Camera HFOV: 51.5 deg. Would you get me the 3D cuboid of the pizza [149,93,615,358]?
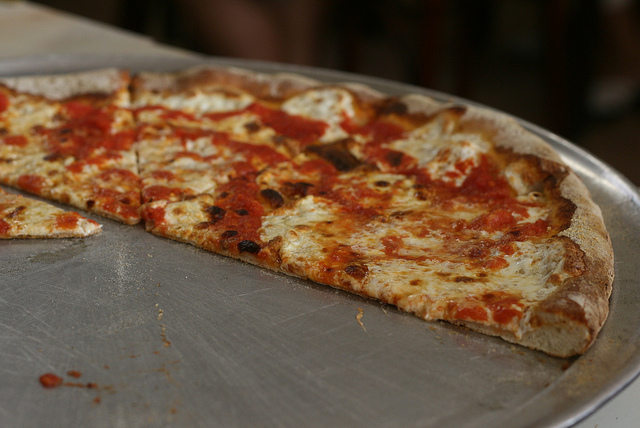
[{"bbox_3d":[0.302,-0.100,2.117,1.295,0.223,0.983,16,36,22],"label":"pizza"}]
